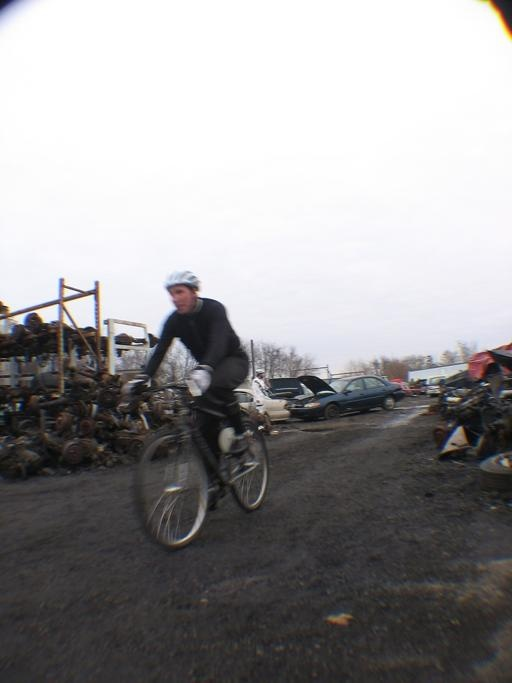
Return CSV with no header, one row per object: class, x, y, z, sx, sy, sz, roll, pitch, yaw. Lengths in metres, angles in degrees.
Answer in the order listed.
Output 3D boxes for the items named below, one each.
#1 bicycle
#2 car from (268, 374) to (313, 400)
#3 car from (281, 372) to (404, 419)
bicycle,-0.595,0.946,3.345,0.677,0.902,1.504,-13,-9,23
car,1.196,1.765,17.974,1.173,0.726,1.563,-3,0,-4
car,3.420,2.010,16.778,4.652,1.483,0.883,1,-8,-33
